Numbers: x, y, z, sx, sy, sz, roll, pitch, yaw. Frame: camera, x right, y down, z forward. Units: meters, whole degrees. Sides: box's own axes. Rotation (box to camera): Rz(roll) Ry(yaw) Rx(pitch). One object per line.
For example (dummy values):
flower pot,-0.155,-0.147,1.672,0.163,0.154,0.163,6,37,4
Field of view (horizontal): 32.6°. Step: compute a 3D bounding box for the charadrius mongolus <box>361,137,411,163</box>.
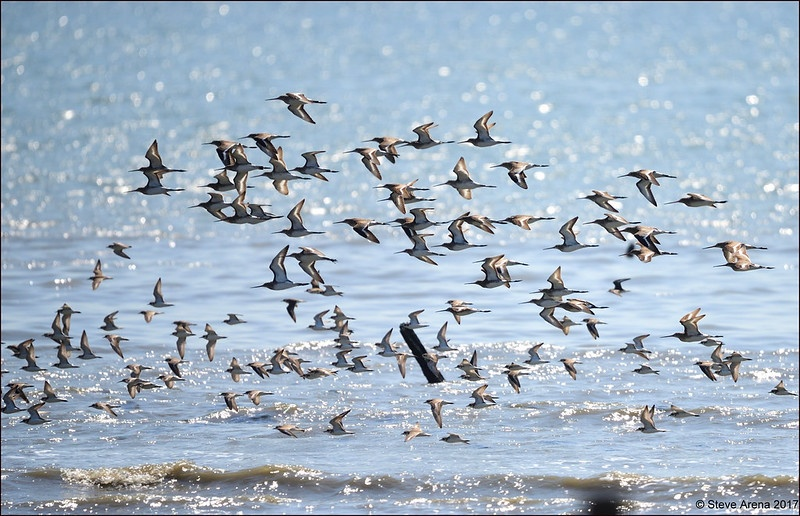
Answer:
charadrius mongolus,-0.783,-5.153,66.293,1.903,0.376,1.569,0,35,12
